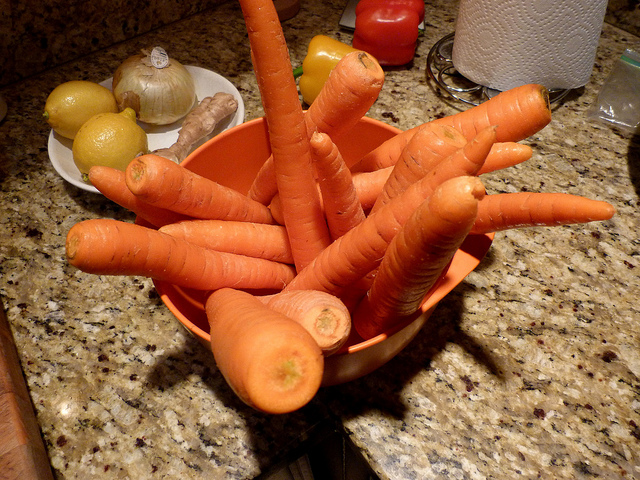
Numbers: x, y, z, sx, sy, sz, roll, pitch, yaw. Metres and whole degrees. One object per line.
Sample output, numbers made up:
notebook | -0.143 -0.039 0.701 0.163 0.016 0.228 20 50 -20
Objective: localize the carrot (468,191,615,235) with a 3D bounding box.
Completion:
carrot | 0.343 -0.041 0.906 0.240 0.057 0.055 -4 51 30

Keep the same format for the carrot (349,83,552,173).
carrot | 0.271 -0.177 1.020 0.286 0.071 0.071 -22 14 35

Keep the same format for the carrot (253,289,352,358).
carrot | -0.019 0.106 0.827 0.158 0.061 0.068 18 12 41

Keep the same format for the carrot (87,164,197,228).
carrot | -0.286 -0.075 0.941 0.205 0.051 0.052 25 59 -29

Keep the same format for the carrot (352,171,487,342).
carrot | 0.134 0.067 0.900 0.090 0.388 0.103 -11 47 -36

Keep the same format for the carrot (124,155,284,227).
carrot | -0.159 -0.075 1.043 0.081 0.365 0.082 37 100 48

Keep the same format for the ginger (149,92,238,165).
ginger | -0.263 -0.235 1.196 0.166 0.131 0.166 27 37 37

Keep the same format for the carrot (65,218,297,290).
carrot | -0.211 0.037 0.959 0.086 0.436 0.075 -32 62 31

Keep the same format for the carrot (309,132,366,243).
carrot | 0.032 -0.082 0.957 0.062 0.230 0.052 23 50 28

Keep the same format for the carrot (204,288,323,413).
carrot | -0.113 0.127 0.859 0.135 0.117 0.293 -3 21 -29

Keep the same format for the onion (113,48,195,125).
onion | -0.380 -0.340 1.339 0.173 0.159 0.150 -19 38 -28

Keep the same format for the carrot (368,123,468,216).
carrot | 0.159 -0.128 0.977 0.164 0.140 0.156 -3 27 -15
